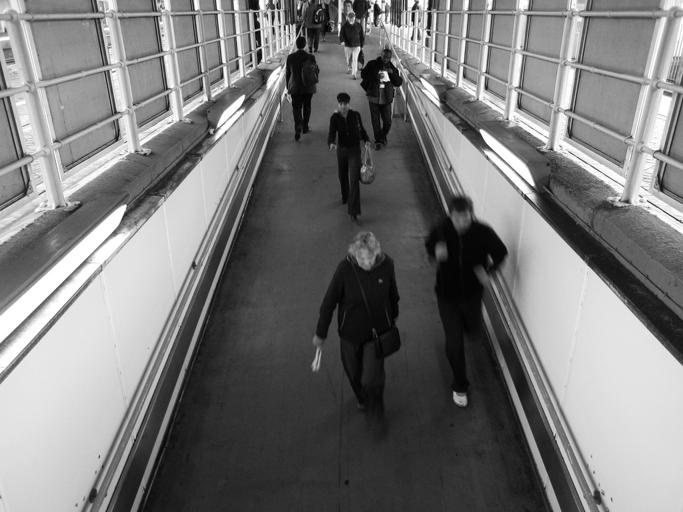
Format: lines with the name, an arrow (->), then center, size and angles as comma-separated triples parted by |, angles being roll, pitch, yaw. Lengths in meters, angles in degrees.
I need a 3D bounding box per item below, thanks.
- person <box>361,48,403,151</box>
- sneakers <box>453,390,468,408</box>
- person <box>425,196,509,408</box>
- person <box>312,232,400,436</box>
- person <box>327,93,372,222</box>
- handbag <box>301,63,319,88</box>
person -> 0.925, -3.686, 9.913 | 0.876, 2.175, 1.252 | 6, 22, 7
sneakers -> 1.122, 1.357, 3.953 | 0.080, 0.076, 0.167 | -3, 19, 1
person -> 1.072, 0.402, 3.892 | 0.705, 1.870, 0.465 | 12, 22, 21
person -> 0.146, 0.651, 3.658 | 0.681, 1.810, 0.598 | -3, 22, -1
person -> 0.107, -1.734, 7.236 | 0.660, 1.988, 0.910 | 3, 21, 0
handbag -> -0.779, -4.304, 9.974 | 0.406, 0.662, 0.347 | -6, 38, -3
